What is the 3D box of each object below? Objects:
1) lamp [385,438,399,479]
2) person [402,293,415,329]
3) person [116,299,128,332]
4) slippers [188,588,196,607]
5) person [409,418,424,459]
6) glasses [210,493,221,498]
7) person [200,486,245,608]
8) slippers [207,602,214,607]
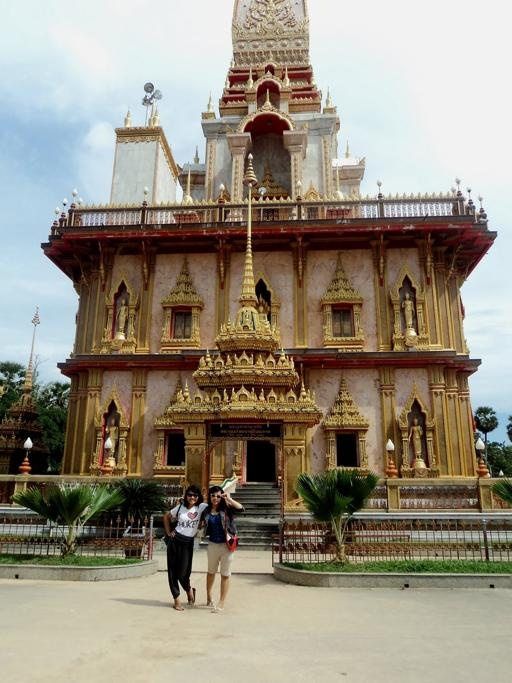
[{"bbox_3d":[4.111,3.582,16.413,0.398,1.188,1.987,-3,-14,13],"label":"lamp"},{"bbox_3d":[5.274,-0.928,18.569,0.400,1.571,0.458,-3,-15,15],"label":"person"},{"bbox_3d":[-4.908,-0.956,19.680,0.428,1.465,0.313,-12,-20,42],"label":"person"},{"bbox_3d":[-0.737,2.928,6.058,0.078,0.229,0.083,-1,1,18],"label":"slippers"},{"bbox_3d":[5.234,3.154,17.434,0.368,1.321,0.338,7,-16,-22],"label":"person"},{"bbox_3d":[-0.469,1.820,6.271,0.072,0.023,0.074,6,11,-2],"label":"glasses"},{"bbox_3d":[-0.381,2.318,6.031,0.424,1.292,0.712,3,-14,-9],"label":"person"},{"bbox_3d":[-0.507,2.926,5.913,0.039,0.049,0.114,1,-33,-2],"label":"slippers"}]
